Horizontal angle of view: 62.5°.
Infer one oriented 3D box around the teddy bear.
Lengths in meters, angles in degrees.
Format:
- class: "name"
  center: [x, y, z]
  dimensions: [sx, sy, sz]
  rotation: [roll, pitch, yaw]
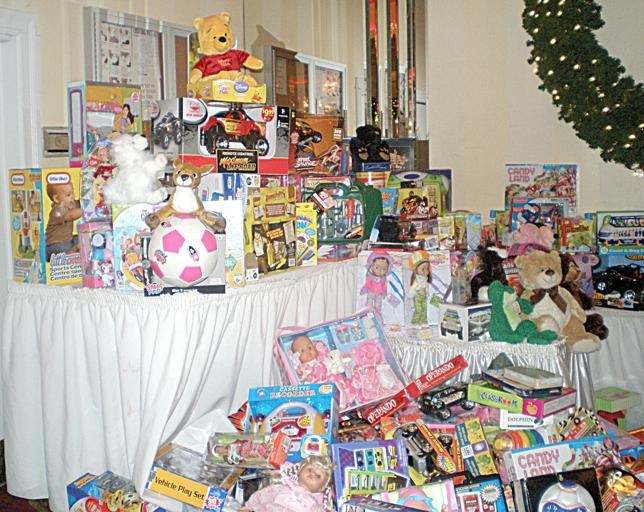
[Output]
- class: "teddy bear"
  center: [-0.478, -0.994, 2.673]
  dimensions: [0.353, 0.467, 0.265]
  rotation: [-12, 12, -23]
